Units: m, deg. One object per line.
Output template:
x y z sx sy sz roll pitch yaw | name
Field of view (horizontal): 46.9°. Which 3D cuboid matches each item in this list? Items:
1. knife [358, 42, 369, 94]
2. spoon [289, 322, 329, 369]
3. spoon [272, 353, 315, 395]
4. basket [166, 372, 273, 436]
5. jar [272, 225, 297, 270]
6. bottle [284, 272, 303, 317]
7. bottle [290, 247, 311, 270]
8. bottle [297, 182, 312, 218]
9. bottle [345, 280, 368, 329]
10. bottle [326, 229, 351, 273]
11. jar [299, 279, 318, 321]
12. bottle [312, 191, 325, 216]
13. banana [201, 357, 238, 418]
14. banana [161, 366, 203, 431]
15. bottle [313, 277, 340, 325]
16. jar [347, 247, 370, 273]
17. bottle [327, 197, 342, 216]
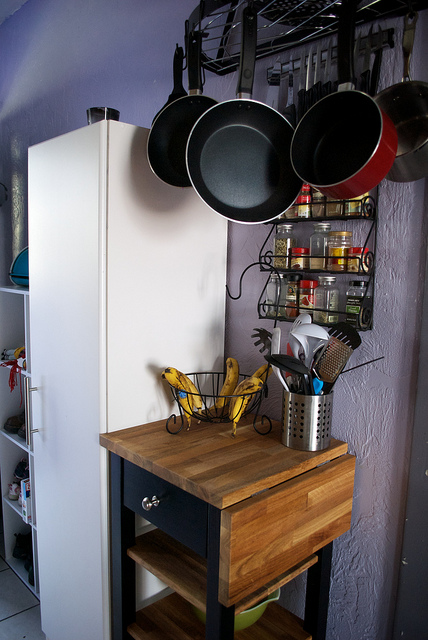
0.308 -0.516 1.021 0.010 0.101 0.016 7 -15 -11 | knife
0.207 0.049 1.078 0.069 0.092 0.087 -4 11 -42 | spoon
0.173 0.119 1.088 0.084 0.089 0.094 4 9 30 | spoon
0.006 0.231 1.338 0.303 0.126 0.253 -1 9 -34 | basket
0.185 -0.190 1.311 0.053 0.116 0.057 1 7 0 | jar
0.201 -0.064 1.275 0.044 0.116 0.069 1 8 8 | bottle
0.213 -0.159 1.252 0.053 0.061 0.054 -8 15 -32 | bottle
0.223 -0.292 1.209 0.031 0.081 0.053 -7 10 -44 | bottle
0.320 -0.040 1.154 0.036 0.105 0.100 -1 8 -7 | bottle
0.294 -0.163 1.167 0.052 0.093 0.053 2 4 0 | bottle
0.230 -0.055 1.237 0.043 0.102 0.040 -2 28 1 | jar
0.245 -0.279 1.180 0.023 0.056 0.055 -4 9 -27 | bottle
0.023 0.194 1.327 0.040 0.074 0.204 -4 22 21 | banana
-0.088 0.200 1.305 0.111 0.158 0.221 0 8 -1 | banana
0.270 -0.047 1.184 0.064 0.113 0.096 2 8 12 | bottle
0.318 -0.136 1.118 0.054 0.062 0.054 0 12 0 | jar
0.275 -0.264 1.148 0.018 0.046 0.051 -4 8 -26 | bottle
